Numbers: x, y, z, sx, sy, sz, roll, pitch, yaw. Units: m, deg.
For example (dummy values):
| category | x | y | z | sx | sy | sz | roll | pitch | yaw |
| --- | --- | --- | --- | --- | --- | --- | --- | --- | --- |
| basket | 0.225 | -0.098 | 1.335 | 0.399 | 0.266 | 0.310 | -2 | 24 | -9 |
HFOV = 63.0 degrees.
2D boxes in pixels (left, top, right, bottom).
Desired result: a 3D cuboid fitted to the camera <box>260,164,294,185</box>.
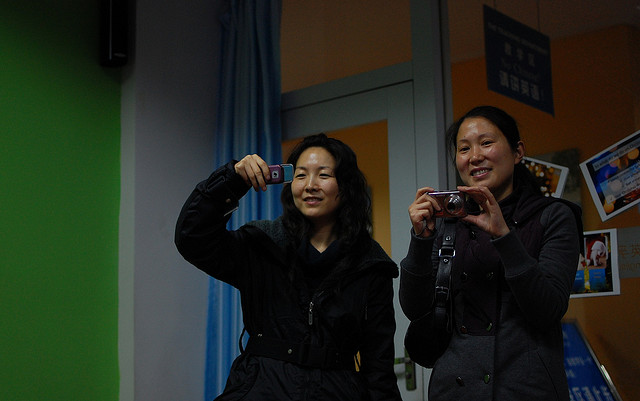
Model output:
| category | x | y | z | sx | sy | sz | roll | pitch | yaw |
| --- | --- | --- | --- | --- | --- | --- | --- | --- | --- |
| camera | -0.176 | -0.105 | 2.112 | 0.131 | 0.093 | 0.082 | 0 | -8 | -7 |

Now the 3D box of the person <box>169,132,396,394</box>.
| category | x | y | z | sx | sy | sz | roll | pitch | yaw |
| --- | --- | --- | --- | --- | --- | --- | --- | --- | --- |
| person | -0.128 | 0.230 | 2.189 | 0.889 | 1.091 | 0.275 | 2 | -8 | -18 |

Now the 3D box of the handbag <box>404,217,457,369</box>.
| category | x | y | z | sx | sy | sz | roll | pitch | yaw |
| --- | --- | --- | --- | --- | --- | --- | --- | --- | --- |
| handbag | 0.366 | 0.367 | 2.106 | 0.190 | 0.543 | 0.307 | 6 | 3 | -4 |
